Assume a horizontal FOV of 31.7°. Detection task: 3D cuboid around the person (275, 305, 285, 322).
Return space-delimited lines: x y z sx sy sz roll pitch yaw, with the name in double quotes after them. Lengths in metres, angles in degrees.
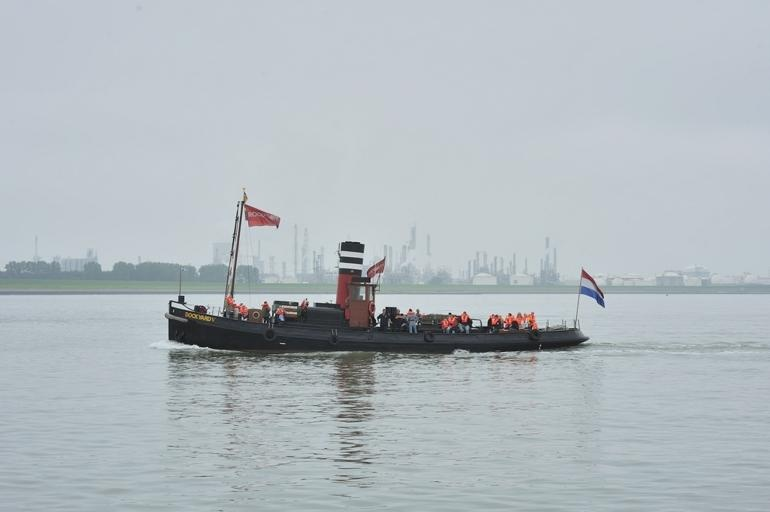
-7.998 4.436 105.046 0.627 1.021 0.947 1 7 0 "person"
